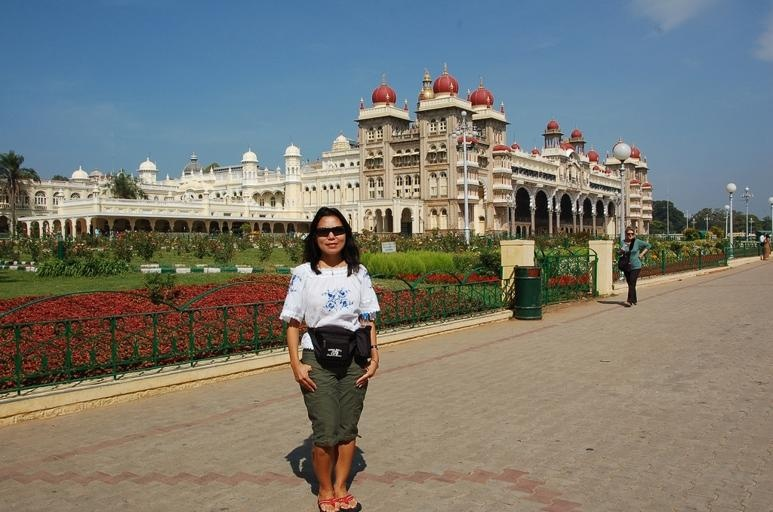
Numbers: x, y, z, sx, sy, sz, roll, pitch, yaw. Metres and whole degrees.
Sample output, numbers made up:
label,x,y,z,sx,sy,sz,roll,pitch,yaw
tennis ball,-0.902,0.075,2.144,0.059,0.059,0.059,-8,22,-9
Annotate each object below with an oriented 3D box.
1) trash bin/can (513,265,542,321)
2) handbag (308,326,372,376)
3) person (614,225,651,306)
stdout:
label,x,y,z,sx,sy,sz,roll,pitch,yaw
trash bin/can,2.793,0.727,14.396,0.552,1.063,0.457,2,11,16
handbag,-0.378,0.850,6.828,0.624,0.310,0.672,1,-9,43
person,5.534,0.262,16.375,0.596,1.799,1.363,3,11,18
